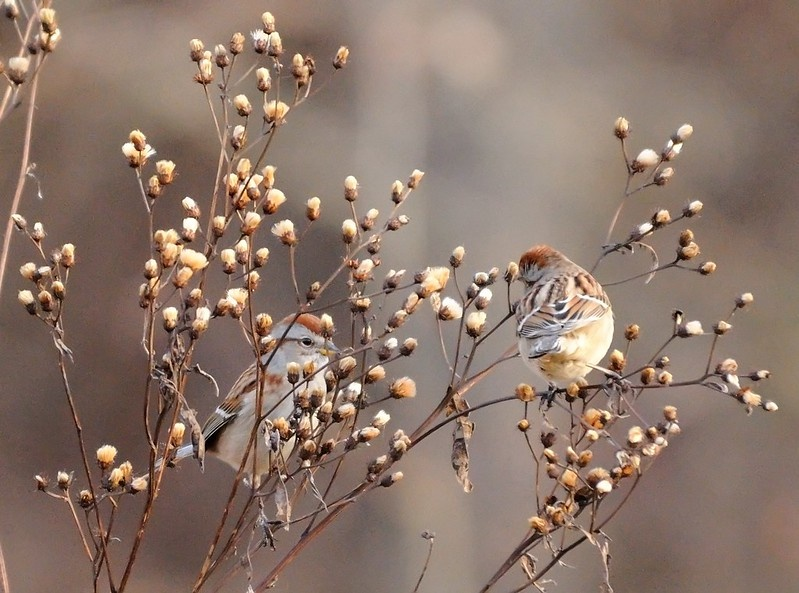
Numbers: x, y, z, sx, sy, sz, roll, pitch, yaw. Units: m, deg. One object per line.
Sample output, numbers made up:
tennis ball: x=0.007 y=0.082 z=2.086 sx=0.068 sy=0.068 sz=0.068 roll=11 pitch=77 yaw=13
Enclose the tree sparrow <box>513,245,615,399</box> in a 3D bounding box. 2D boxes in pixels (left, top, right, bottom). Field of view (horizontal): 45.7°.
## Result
tree sparrow: x=0.880 y=0.182 z=5.125 sx=0.459 sy=1.001 sz=0.877 roll=-9 pitch=-83 yaw=18
